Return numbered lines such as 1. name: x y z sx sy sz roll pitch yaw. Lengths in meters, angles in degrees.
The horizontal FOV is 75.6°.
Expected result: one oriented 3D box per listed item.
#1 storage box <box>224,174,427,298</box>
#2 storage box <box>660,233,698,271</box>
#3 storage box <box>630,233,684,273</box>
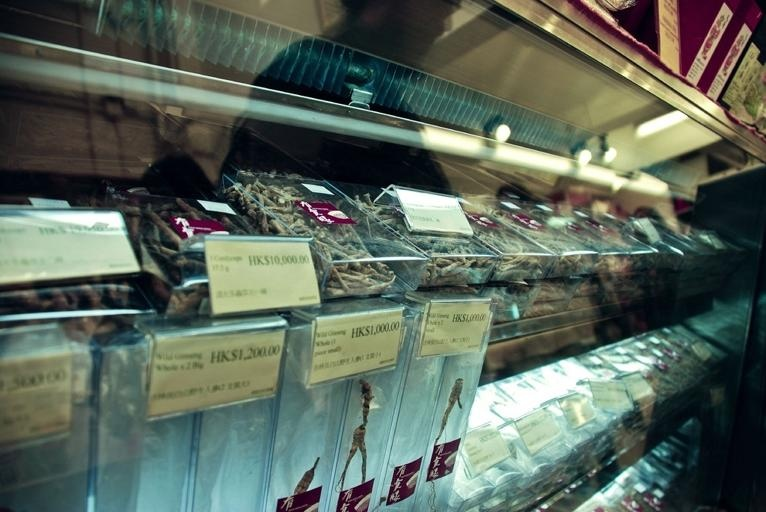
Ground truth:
1. storage box: -0.156 -0.063 1.163 0.354 0.254 0.375 -4 12 -34
2. storage box: 1.173 -0.014 1.984 0.166 0.154 0.057 24 -38 -32
3. storage box: 1.053 0.004 1.853 0.173 0.049 0.169 14 16 -23
